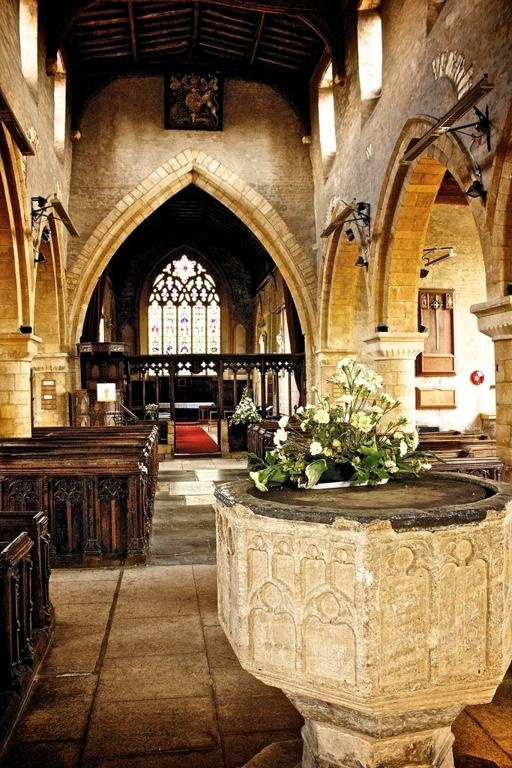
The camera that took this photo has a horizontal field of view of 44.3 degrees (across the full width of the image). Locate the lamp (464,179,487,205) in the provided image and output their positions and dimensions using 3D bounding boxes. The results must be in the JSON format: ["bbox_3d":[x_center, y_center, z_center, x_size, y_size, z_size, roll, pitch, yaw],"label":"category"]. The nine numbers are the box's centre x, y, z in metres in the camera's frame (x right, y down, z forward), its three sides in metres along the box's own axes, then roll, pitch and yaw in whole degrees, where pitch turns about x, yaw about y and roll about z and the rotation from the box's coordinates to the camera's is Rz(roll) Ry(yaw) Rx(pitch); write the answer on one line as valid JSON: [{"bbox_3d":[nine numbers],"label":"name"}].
[{"bbox_3d":[1.883,-1.643,5.406,0.121,0.238,0.273,1,-2,8],"label":"lamp"}]

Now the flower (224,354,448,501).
[{"bbox_3d":[0.242,0.173,2.319,0.540,0.561,0.780,-1,4,-11],"label":"flower"}]
